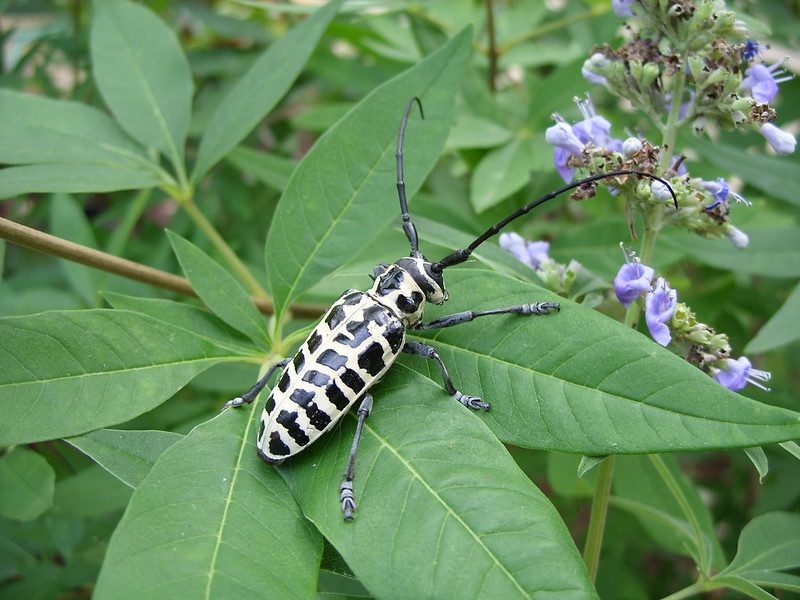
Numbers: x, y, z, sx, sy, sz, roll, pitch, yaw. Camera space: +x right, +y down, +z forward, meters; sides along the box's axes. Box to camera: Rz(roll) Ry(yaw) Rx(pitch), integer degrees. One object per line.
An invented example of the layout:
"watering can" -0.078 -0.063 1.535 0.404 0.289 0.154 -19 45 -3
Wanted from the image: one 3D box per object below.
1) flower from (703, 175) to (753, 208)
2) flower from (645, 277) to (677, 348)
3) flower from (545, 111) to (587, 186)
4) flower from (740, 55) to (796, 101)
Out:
"flower" 1.256 -0.406 3.063 0.054 0.137 0.164 48 -3 -34
"flower" 0.933 0.046 2.866 0.161 0.226 0.078 -9 -13 29
"flower" 0.639 -0.600 3.109 0.077 0.220 0.248 15 53 -33
"flower" 1.441 -0.884 3.134 0.175 0.159 0.273 32 36 33
